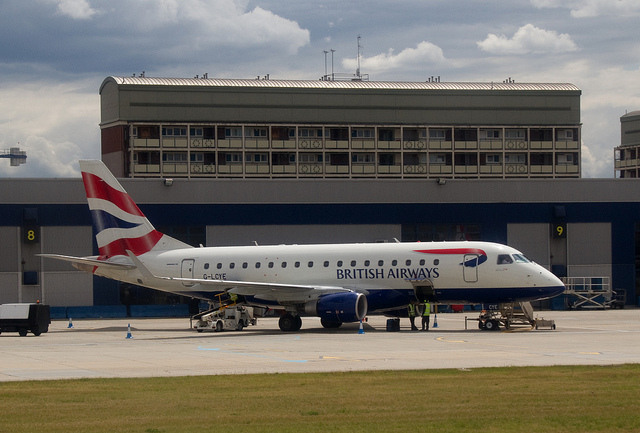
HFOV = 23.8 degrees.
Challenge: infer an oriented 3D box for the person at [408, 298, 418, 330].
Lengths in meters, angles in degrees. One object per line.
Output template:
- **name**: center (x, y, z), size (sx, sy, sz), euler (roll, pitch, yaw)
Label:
- **person**: center (7.079, 7.247, 112.115), size (0.612, 2.327, 0.883), euler (-3, -7, 3)

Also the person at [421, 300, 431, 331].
- **person**: center (8.047, 7.341, 111.851), size (0.593, 2.102, 0.813), euler (-3, -7, 4)

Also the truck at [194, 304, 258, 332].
- **truck**: center (-7.221, 7.617, 115.472), size (4.286, 1.616, 2.667), euler (0, 7, -41)

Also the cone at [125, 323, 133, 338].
- **cone**: center (-13.736, 8.415, 110.053), size (0.885, 0.971, 0.790), euler (-1, 0, 1)

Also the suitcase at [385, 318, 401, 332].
- **suitcase**: center (5.654, 8.084, 112.372), size (1.001, 0.780, 0.897), euler (-3, -6, 13)
